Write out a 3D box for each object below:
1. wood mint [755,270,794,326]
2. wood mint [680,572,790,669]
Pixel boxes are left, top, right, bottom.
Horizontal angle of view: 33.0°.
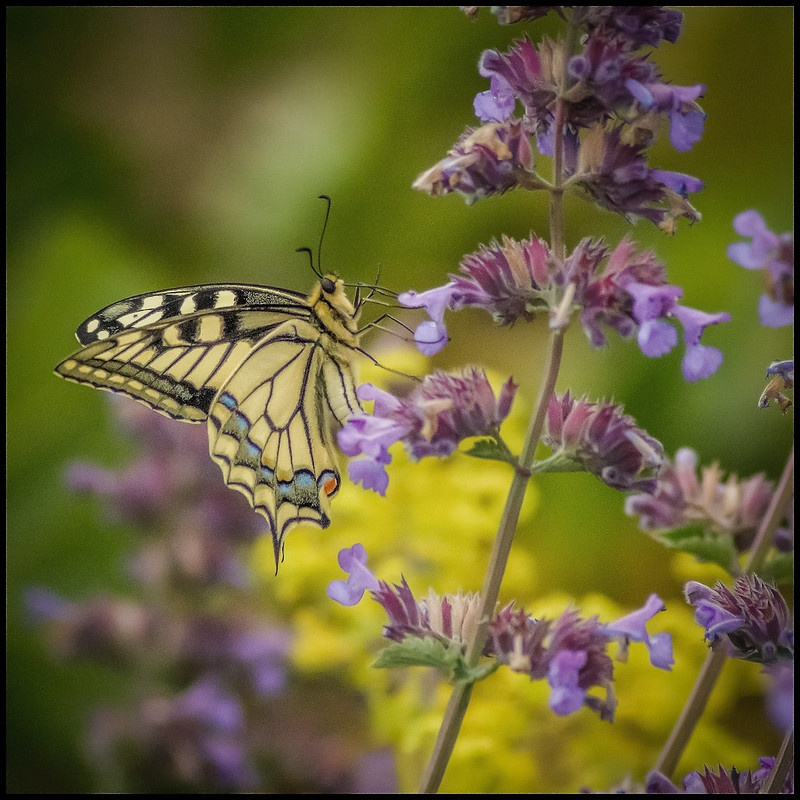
[{"bbox_3d":[1.072,-0.280,3.820,0.107,0.113,0.117,-10,-53,13],"label":"wood mint"},{"bbox_3d":[1.044,0.668,4.185,0.268,0.273,0.166,-1,-77,40],"label":"wood mint"}]
